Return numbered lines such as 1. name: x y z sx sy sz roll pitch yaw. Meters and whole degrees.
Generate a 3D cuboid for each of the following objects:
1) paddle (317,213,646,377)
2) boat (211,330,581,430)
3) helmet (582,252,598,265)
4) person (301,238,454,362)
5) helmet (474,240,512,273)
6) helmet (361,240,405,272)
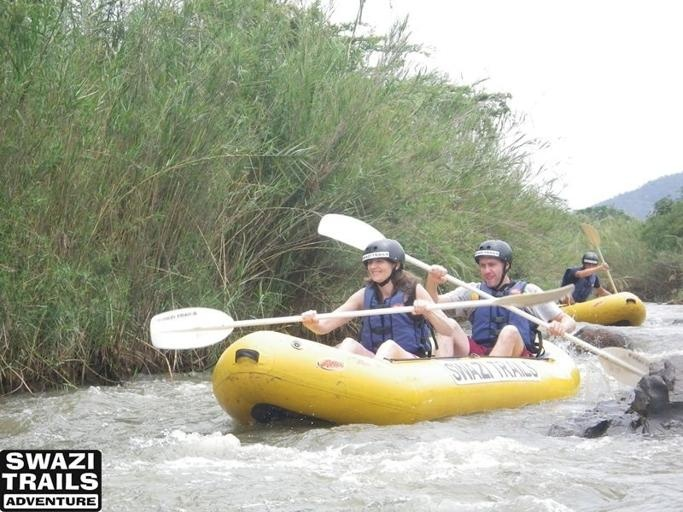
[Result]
1. paddle: 1.683 0.469 8.752 4.183 0.627 0.463 28 8 8
2. boat: 0.639 1.108 6.290 2.523 0.508 1.197 5 -7 -35
3. helmet: 4.776 0.068 13.718 0.213 0.245 0.260 11 -18 2
4. person: 0.317 0.545 6.664 1.128 1.385 1.676 -3 -2 28
5. helmet: 1.556 0.001 7.584 0.300 0.377 0.386 2 5 4
6. helmet: 0.395 0.002 6.734 0.309 0.217 0.247 -9 5 -38
